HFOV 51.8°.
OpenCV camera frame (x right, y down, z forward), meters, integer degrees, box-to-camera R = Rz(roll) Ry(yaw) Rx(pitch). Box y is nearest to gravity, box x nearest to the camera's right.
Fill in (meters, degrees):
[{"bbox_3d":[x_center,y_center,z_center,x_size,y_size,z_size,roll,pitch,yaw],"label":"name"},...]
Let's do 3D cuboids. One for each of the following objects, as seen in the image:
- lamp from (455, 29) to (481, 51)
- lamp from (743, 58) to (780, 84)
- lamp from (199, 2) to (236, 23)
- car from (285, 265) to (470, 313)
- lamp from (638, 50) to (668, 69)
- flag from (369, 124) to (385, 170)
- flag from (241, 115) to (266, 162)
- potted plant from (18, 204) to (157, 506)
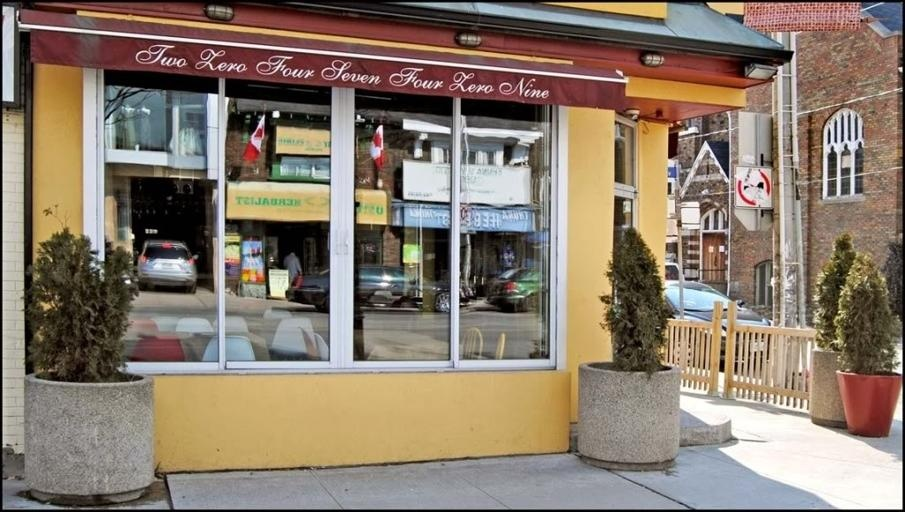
[{"bbox_3d":[0.208,-3.177,13.445,0.358,0.198,0.178,0,8,-10],"label":"lamp"},{"bbox_3d":[4.799,-2.917,14.556,0.504,0.292,0.377,4,13,11],"label":"lamp"},{"bbox_3d":[-3.233,-3.376,12.759,0.387,0.227,0.084,-2,13,-17],"label":"lamp"},{"bbox_3d":[-1.107,0.376,13.657,2.127,0.595,0.881,-1,-1,-13],"label":"car"},{"bbox_3d":[3.002,-3.005,14.017,0.321,0.216,0.136,2,6,-6],"label":"lamp"},{"bbox_3d":[-1.108,-1.599,13.428,0.214,0.617,0.127,-2,13,-14],"label":"flag"},{"bbox_3d":[-2.802,-1.670,13.085,0.138,0.649,0.327,12,16,40],"label":"flag"},{"bbox_3d":[-4.697,1.407,11.878,1.577,3.405,0.979,-1,13,-10],"label":"potted plant"}]
